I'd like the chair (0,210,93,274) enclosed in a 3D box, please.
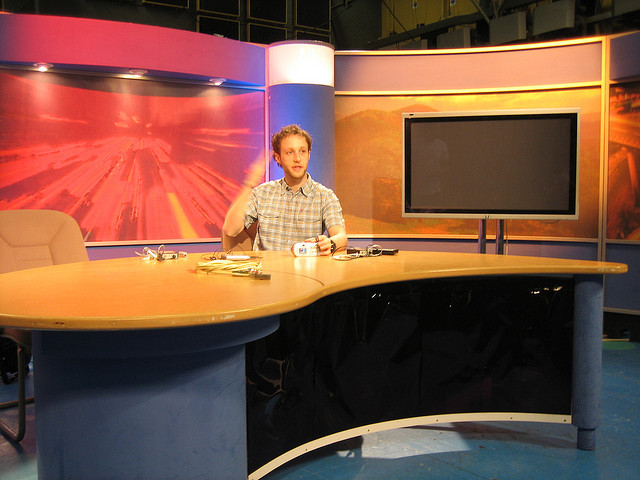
[{"bbox_3d":[-1.732,0.061,3.358,0.421,0.579,0.487,0,-5,-36],"label":"chair"}]

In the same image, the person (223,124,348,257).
[{"bbox_3d":[-0.197,-0.249,3.654,0.918,1.267,0.855,1,2,-2],"label":"person"}]

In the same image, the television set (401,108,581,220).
[{"bbox_3d":[1.253,-0.542,3.807,1.298,0.798,0.053,0,1,7],"label":"television set"}]

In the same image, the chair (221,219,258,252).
[{"bbox_3d":[-0.556,-0.027,3.679,0.213,0.282,0.232,1,-1,-8],"label":"chair"}]

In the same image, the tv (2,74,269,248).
[{"bbox_3d":[-1.680,-0.691,4.448,1.626,0.955,0.030,-2,6,-22],"label":"tv"}]
